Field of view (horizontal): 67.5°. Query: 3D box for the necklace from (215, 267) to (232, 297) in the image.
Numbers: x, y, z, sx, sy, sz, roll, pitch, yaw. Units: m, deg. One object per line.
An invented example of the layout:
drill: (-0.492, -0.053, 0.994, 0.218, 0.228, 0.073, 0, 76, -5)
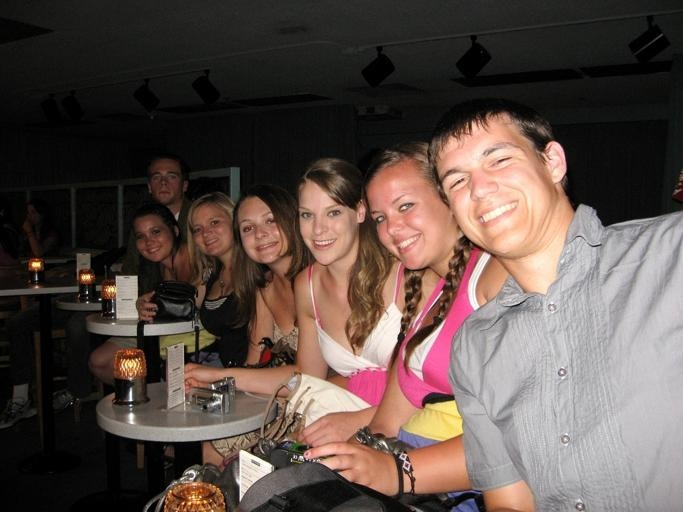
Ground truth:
necklace: (-0.780, 0.167, 3.394, 0.104, 0.195, 0.042, -13, -30, 22)

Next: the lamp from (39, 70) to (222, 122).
lamp: (-3.353, -2.454, 8.200, 3.747, 0.504, 1.061, -1, 3, 25)

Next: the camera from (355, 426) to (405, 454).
camera: (0.134, 0.662, 1.821, 0.181, 0.064, 0.070, 16, 6, 20)

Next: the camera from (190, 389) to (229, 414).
camera: (-0.583, 0.611, 2.174, 0.219, 0.091, 0.053, -1, 4, 23)

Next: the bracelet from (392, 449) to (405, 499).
bracelet: (0.187, 0.699, 1.646, 0.027, 0.094, 0.084, -3, -12, 6)

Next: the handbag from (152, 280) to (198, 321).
handbag: (-1.118, 0.299, 3.423, 0.287, 0.284, 0.214, 1, -2, -12)

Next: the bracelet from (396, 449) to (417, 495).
bracelet: (0.209, 0.699, 1.649, 0.034, 0.114, 0.080, 9, -11, -38)
